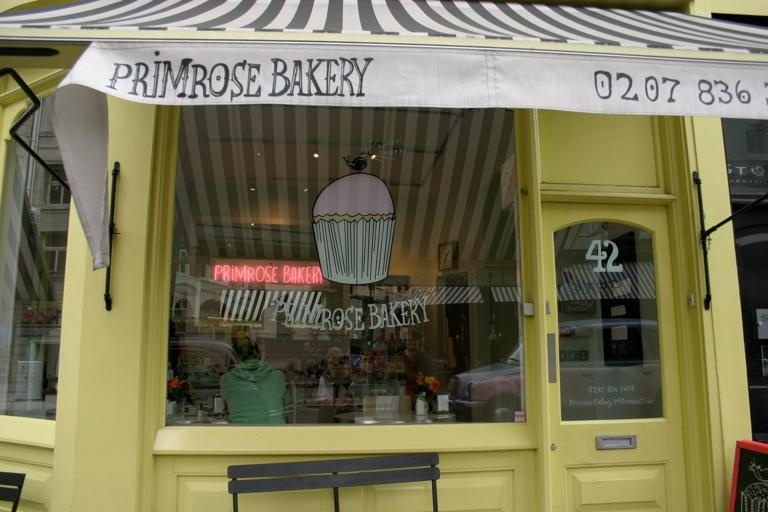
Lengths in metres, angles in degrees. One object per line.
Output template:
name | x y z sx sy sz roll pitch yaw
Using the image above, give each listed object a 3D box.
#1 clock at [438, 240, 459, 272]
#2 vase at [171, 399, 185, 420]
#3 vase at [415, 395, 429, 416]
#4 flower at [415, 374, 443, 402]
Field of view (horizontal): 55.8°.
clock | 0.547 0.011 6.258 0.213 0.300 0.105 -10 -22 35
vase | -1.678 1.257 5.904 0.140 0.143 0.108 1 -2 -8
vase | 0.315 1.269 6.081 0.127 0.159 0.116 3 -17 -8
flower | 0.360 1.145 6.185 0.188 0.190 0.189 7 -37 -25
